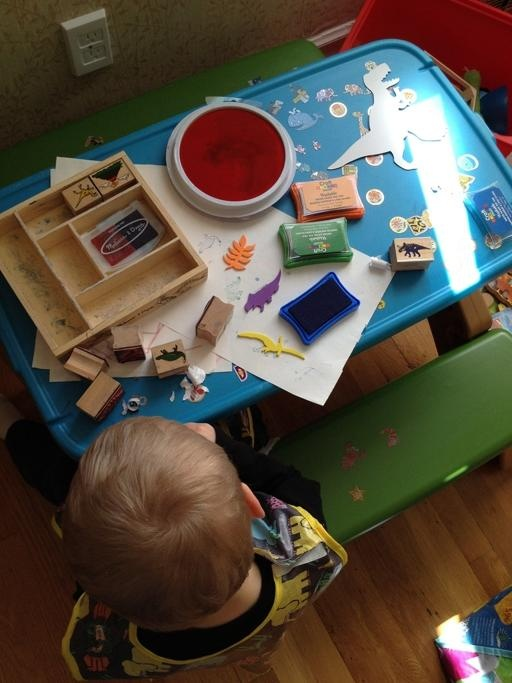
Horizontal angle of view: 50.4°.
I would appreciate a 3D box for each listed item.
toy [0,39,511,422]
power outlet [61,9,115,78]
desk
[{"bbox_3d":[0.276,-0.347,1.853,1.349,0.350,0.791,-27,85,-8],"label":"toy"},{"bbox_3d":[-0.390,-0.702,1.301,0.116,0.019,0.182,-18,65,3],"label":"power outlet"},{"bbox_3d":[0.222,-0.162,1.807,1.389,0.377,0.810,-26,85,-9],"label":"desk"}]
